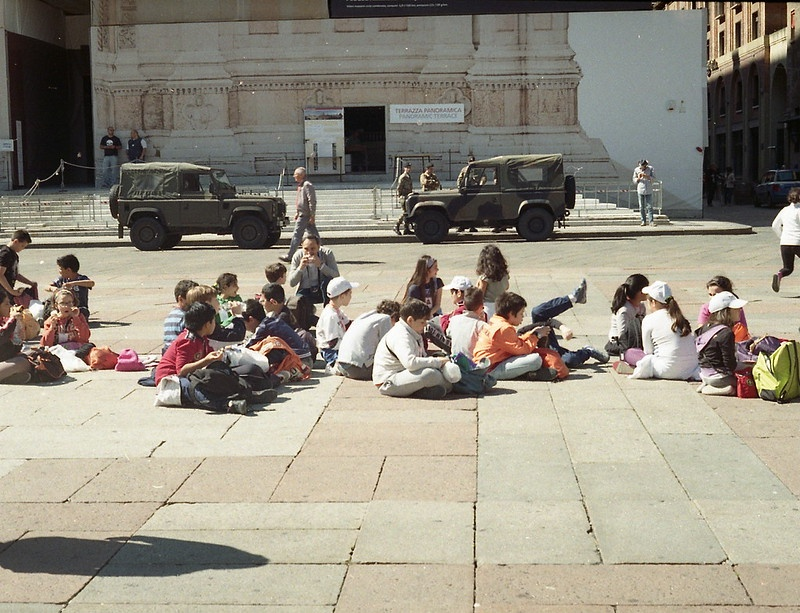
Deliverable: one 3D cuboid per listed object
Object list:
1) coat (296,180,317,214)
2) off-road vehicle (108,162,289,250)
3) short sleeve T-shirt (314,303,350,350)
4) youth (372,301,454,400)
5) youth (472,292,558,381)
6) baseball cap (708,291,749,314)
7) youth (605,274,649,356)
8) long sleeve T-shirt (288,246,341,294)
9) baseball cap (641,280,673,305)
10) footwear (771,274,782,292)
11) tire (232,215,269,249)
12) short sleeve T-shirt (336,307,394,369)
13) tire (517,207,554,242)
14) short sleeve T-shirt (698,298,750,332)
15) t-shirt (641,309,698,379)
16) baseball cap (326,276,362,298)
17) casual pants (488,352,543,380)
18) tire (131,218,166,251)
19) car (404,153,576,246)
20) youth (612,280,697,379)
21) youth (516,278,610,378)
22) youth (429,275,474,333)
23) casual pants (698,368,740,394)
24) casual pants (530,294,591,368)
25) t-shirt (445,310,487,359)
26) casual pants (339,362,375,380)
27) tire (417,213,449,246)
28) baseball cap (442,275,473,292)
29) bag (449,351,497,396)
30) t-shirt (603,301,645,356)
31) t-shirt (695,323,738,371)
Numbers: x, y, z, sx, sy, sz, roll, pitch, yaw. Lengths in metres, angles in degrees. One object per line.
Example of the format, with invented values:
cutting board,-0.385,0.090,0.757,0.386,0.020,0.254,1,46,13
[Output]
coat,-1.729,-1.964,20.128,0.322,0.602,0.418,-3,10,-9
off-road vehicle,-4.914,-2.444,26.768,4.085,2.257,2.112,0,5,1
short sleeve T-shirt,-0.757,0.212,12.259,0.378,0.535,0.622,0,19,4
youth,0.189,0.420,11.056,0.937,1.000,0.766,5,7,16
youth,1.186,0.289,11.591,0.925,0.876,0.733,-2,9,-6
baseball cap,3.274,-0.051,10.943,0.285,0.159,0.211,-5,6,-2
youth,2.584,0.132,11.986,0.649,0.893,0.595,0,6,3
long sleeve T-shirt,-1.155,-0.441,14.134,0.593,0.674,0.593,0,-11,-30
baseball cap,2.600,-0.145,11.228,0.261,0.154,0.190,22,24,34
footwear,5.260,-0.332,15.510,0.130,0.356,0.146,5,25,32
tire,-3.522,-1.784,25.882,0.685,0.744,0.252,2,10,0
short sleeve T-shirt,-0.309,0.339,11.658,0.495,0.680,0.637,13,11,29
tire,3.191,-1.975,26.161,0.573,0.608,0.208,21,3,-8
short sleeve T-shirt,3.460,-0.007,11.927,0.490,0.369,0.270,1,-9,5
t-shirt,2.752,0.336,11.374,0.766,0.832,0.591,0,8,18
baseball cap,-0.618,-0.224,11.923,0.289,0.147,0.199,-16,18,-25
casual pants,1.189,0.620,11.310,0.335,0.126,0.330,-9,5,-12
tire,-5.906,-1.703,25.878,0.581,0.627,0.213,13,5,2
car,2.283,-2.592,26.899,4.044,2.255,2.049,-1,3,10
youth,2.667,0.201,11.410,0.853,1.052,0.851,-7,12,-28
youth,1.786,0.203,12.012,0.855,0.917,0.509,-7,7,7
youth,0.636,-0.048,12.497,0.616,0.811,0.530,4,7,10
casual pants,3.072,0.718,10.664,0.269,0.146,0.227,0,3,5
casual pants,1.700,0.266,11.940,0.762,0.825,0.540,-2,7,8
t-shirt,0.694,0.305,11.595,0.428,0.521,0.257,4,8,35
casual pants,-0.481,0.685,11.530,0.257,0.118,0.201,-2,-6,18
tire,0.752,-1.870,26.324,0.627,0.679,0.210,9,6,5
baseball cap,0.605,-0.251,12.199,0.305,0.142,0.216,0,1,38
bag,0.658,0.656,11.122,0.594,0.293,0.681,5,12,14
t-shirt,2.417,0.231,11.938,0.471,0.727,0.510,1,2,21
t-shirt,3.042,0.439,10.858,0.327,0.516,0.507,2,-5,-31
